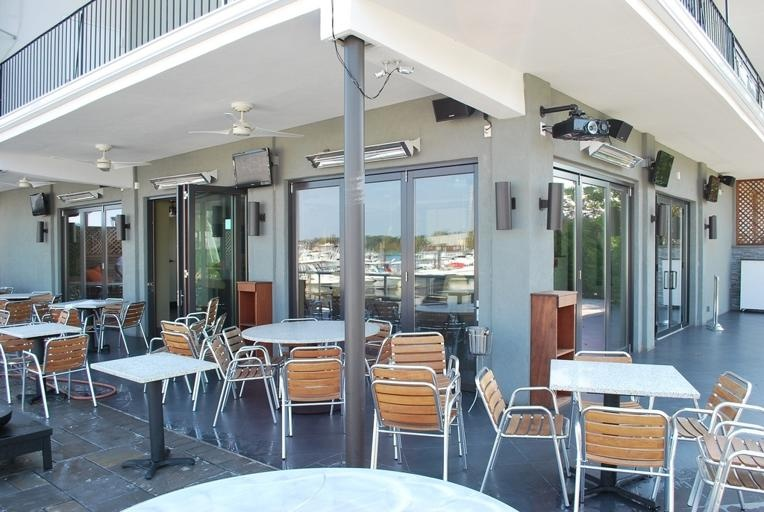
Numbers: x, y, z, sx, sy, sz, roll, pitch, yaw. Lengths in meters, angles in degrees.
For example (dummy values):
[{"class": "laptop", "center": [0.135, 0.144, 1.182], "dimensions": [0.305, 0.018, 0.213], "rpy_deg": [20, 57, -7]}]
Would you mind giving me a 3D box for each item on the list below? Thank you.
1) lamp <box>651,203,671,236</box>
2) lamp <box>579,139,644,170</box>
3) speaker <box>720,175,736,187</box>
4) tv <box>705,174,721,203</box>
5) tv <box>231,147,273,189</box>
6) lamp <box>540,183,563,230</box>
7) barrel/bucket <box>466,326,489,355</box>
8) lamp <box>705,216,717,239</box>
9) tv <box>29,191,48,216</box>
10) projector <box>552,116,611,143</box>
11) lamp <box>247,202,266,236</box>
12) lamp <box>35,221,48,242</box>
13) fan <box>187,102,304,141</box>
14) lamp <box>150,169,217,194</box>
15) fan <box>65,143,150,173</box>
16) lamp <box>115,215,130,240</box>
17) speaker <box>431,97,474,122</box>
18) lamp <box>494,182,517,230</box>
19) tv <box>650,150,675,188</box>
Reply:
[{"class": "lamp", "center": [5.241, -0.638, 10.370], "dimensions": [0.257, 0.668, 0.551], "rpy_deg": [6, 14, 27]}, {"class": "lamp", "center": [3.525, -1.557, 8.550], "dimensions": [1.478, 0.446, 0.252], "rpy_deg": [-11, 16, -42]}, {"class": "speaker", "center": [8.447, -1.847, 13.526], "dimensions": [0.265, 0.075, 0.285], "rpy_deg": [12, 18, 9]}, {"class": "tv", "center": [7.660, -1.589, 12.830], "dimensions": [0.749, 0.662, 0.224], "rpy_deg": [6, 1, -43]}, {"class": "tv", "center": [-2.164, -1.486, 9.361], "dimensions": [0.790, 0.544, 0.106], "rpy_deg": [2, 7, 31]}, {"class": "lamp", "center": [2.225, -0.659, 7.267], "dimensions": [0.305, 0.599, 0.235], "rpy_deg": [2, 13, 13]}, {"class": "barrel/bucket", "center": [1.264, 1.104, 7.222], "dimensions": [0.295, 0.351, 0.238], "rpy_deg": [0, 12, 4]}, {"class": "lamp", "center": [7.741, -0.639, 13.002], "dimensions": [0.188, 0.600, 0.590], "rpy_deg": [10, 16, 41]}, {"class": "tv", "center": [-8.397, -1.296, 13.553], "dimensions": [0.643, 0.624, 0.209], "rpy_deg": [2, 3, 30]}, {"class": "projector", "center": [2.591, -1.654, 7.154], "dimensions": [0.718, 0.269, 0.378], "rpy_deg": [-7, 14, -28]}, {"class": "lamp", "center": [-2.121, -0.619, 9.440], "dimensions": [0.278, 0.596, 0.187], "rpy_deg": [-5, 13, -19]}, {"class": "lamp", "center": [-8.336, -0.585, 13.592], "dimensions": [0.253, 0.527, 0.188], "rpy_deg": [-10, 16, -36]}, {"class": "fan", "center": [-2.083, -2.127, 8.703], "dimensions": [0.945, 0.481, 1.697], "rpy_deg": [-4, 12, -15]}, {"class": "lamp", "center": [-3.816, -1.435, 10.567], "dimensions": [1.769, 0.436, 0.329], "rpy_deg": [8, 15, 36]}, {"class": "fan", "center": [-4.984, -1.743, 10.042], "dimensions": [0.885, 0.296, 0.867], "rpy_deg": [3, 4, 19]}, {"class": "lamp", "center": [-5.463, -0.589, 11.612], "dimensions": [0.388, 0.548, 0.160], "rpy_deg": [3, 13, 18]}, {"class": "speaker", "center": [0.938, -1.988, 7.501], "dimensions": [0.588, 0.293, 0.377], "rpy_deg": [10, 4, 34]}, {"class": "lamp", "center": [1.616, -0.646, 7.249], "dimensions": [0.269, 0.648, 0.191], "rpy_deg": [2, 13, 11]}, {"class": "tv", "center": [5.082, -1.595, 10.066], "dimensions": [0.240, 0.699, 0.835], "rpy_deg": [2, -3, 41]}]
